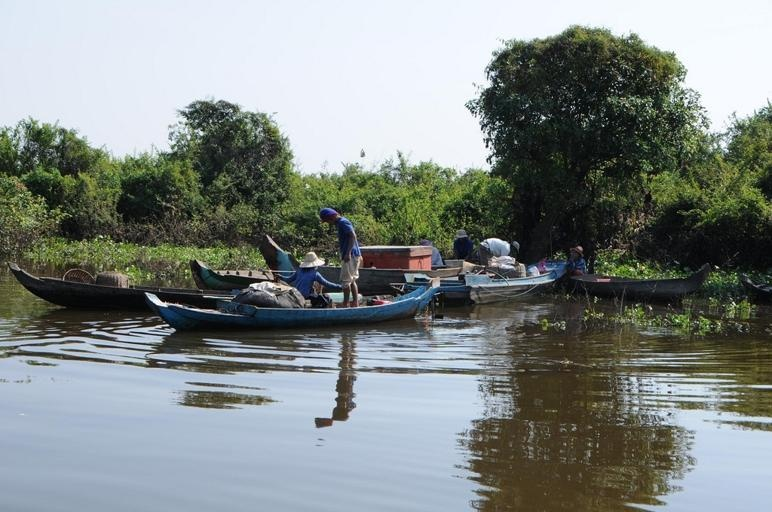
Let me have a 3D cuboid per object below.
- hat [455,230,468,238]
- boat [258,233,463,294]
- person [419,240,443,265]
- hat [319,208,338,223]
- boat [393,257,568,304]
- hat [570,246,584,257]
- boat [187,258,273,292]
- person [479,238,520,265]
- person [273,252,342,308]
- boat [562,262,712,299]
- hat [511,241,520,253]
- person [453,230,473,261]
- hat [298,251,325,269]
[{"bbox_3d":[2.721,-0.788,29.378,0.415,0.238,0.454,1,-2,17],"label":"hat"},{"bbox_3d":[-0.675,-0.219,26.251,6.816,2.059,2.442,3,-6,0],"label":"boat"},{"bbox_3d":[1.499,-0.070,27.614,0.795,1.028,0.871,-6,-4,12],"label":"person"},{"bbox_3d":[-1.537,-1.089,21.362,0.361,0.359,0.470,13,-27,-17],"label":"hat"},{"bbox_3d":[3.340,0.901,25.537,5.762,1.026,2.024,-5,6,-45],"label":"boat"},{"bbox_3d":[6.805,-0.159,29.116,0.437,0.246,0.474,9,-23,45],"label":"hat"},{"bbox_3d":[-4.966,0.594,25.941,2.632,0.980,1.085,1,3,-15],"label":"boat"},{"bbox_3d":[3.867,-0.132,27.846,1.224,0.743,0.771,-11,-43,-2],"label":"person"},{"bbox_3d":[-2.221,0.690,22.602,0.751,1.148,1.215,-26,42,-38],"label":"person"},{"bbox_3d":[8.145,1.041,25.865,5.309,1.473,1.622,-2,2,41],"label":"boat"},{"bbox_3d":[5.011,-0.348,31.632,0.399,0.476,0.392,6,3,10],"label":"hat"},{"bbox_3d":[2.779,-0.376,29.525,0.838,1.356,0.980,-1,5,-3],"label":"person"},{"bbox_3d":[-1.768,0.132,20.780,0.677,0.330,0.669,-2,0,-22],"label":"hat"}]
